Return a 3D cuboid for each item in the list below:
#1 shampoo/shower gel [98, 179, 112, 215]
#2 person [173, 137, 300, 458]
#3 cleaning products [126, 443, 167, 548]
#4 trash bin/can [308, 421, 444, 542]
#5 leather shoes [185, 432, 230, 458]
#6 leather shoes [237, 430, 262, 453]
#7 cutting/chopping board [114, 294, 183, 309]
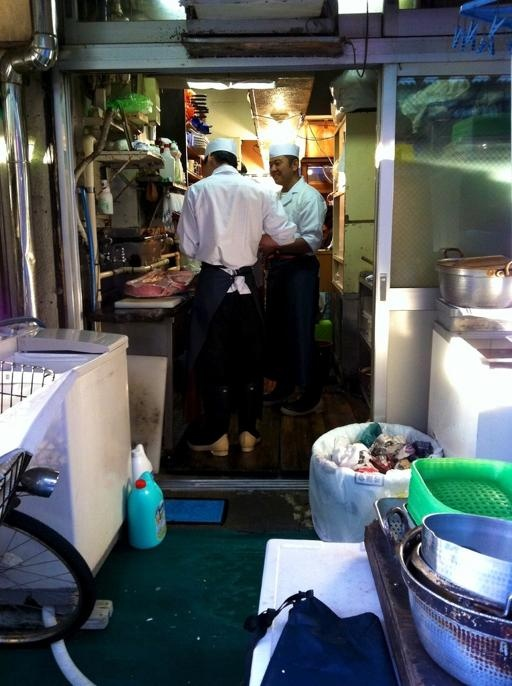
[{"bbox_3d":[-1.035,-1.002,3.668,0.081,0.250,0.351,-3,11,-12],"label":"shampoo/shower gel"},{"bbox_3d":[-0.142,-0.281,3.393,0.675,1.982,0.466,-3,11,-13],"label":"person"},{"bbox_3d":[-0.505,0.706,2.443,0.177,0.417,0.273,-3,11,-10],"label":"cleaning products"},{"bbox_3d":[0.449,0.654,2.425,0.421,0.400,0.602,2,11,12],"label":"trash bin/can"},{"bbox_3d":[-0.321,0.656,3.477,0.294,0.122,0.109,4,5,27],"label":"leather shoes"},{"bbox_3d":[-0.055,0.644,3.460,0.075,0.083,0.200,0,8,5],"label":"leather shoes"},{"bbox_3d":[-0.699,-0.266,3.527,0.384,0.046,0.406,0,11,5],"label":"cutting/chopping board"}]
